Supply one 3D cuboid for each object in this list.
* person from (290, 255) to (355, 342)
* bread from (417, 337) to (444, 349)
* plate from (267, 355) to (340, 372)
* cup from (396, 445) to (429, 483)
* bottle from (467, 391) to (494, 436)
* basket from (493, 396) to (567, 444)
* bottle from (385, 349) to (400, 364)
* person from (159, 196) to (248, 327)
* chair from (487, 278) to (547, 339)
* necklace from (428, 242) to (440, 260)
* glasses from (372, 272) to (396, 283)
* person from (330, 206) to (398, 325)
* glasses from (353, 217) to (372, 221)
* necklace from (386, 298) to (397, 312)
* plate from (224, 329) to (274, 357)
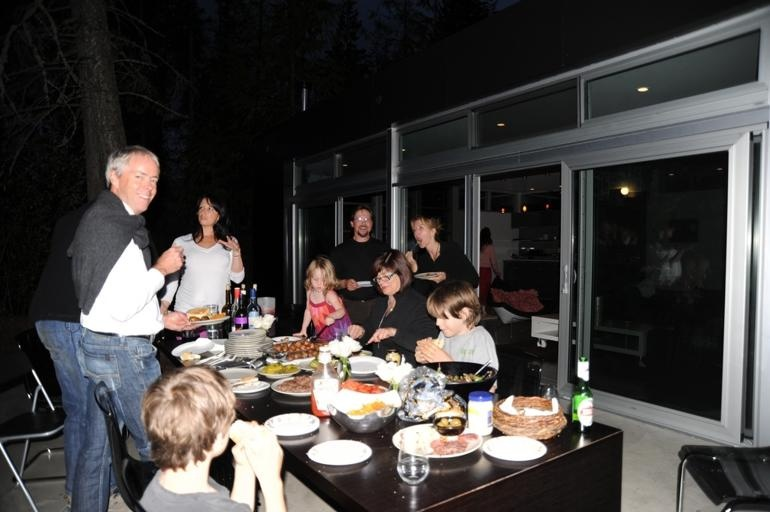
[{"bbox_3d":[-0.525,0.487,4.442,0.480,0.912,0.468,-18,27,-41],"label":"person"},{"bbox_3d":[0.282,0.532,3.159,0.099,0.050,0.121,-2,-5,-37],"label":"bread"},{"bbox_3d":[-0.567,0.723,3.412,0.247,0.044,0.252,3,6,14],"label":"plate"},{"bbox_3d":[0.100,0.998,2.435,0.153,0.153,0.158,11,-16,3],"label":"cup"},{"bbox_3d":[0.485,0.851,2.710,0.157,0.222,0.168,3,-19,1],"label":"bottle"},{"bbox_3d":[0.731,0.885,2.764,0.424,0.173,0.395,5,-3,27],"label":"basket"},{"bbox_3d":[0.042,0.586,2.980,0.094,0.078,0.098,1,3,0],"label":"bottle"},{"bbox_3d":[-1.614,0.356,4.452,0.739,1.685,0.657,-1,4,-27],"label":"person"},{"bbox_3d":[1.662,0.684,6.555,0.679,0.741,0.760,0,-7,-25],"label":"chair"},{"bbox_3d":[0.504,-0.059,5.093,0.127,0.168,0.156,-6,-25,7],"label":"necklace"},{"bbox_3d":[-0.016,0.166,3.925,0.079,0.096,0.199,-1,3,-43],"label":"glasses"},{"bbox_3d":[-0.241,0.369,5.823,0.748,1.953,0.628,-7,21,-19],"label":"person"},{"bbox_3d":[-0.245,-0.405,5.522,0.167,0.041,0.055,0,2,-13],"label":"glasses"},{"bbox_3d":[0.051,0.386,3.954,0.031,0.102,0.075,19,8,-44],"label":"necklace"},{"bbox_3d":[-0.971,0.620,3.573,0.211,0.088,0.210,0,7,-5],"label":"plate"}]
